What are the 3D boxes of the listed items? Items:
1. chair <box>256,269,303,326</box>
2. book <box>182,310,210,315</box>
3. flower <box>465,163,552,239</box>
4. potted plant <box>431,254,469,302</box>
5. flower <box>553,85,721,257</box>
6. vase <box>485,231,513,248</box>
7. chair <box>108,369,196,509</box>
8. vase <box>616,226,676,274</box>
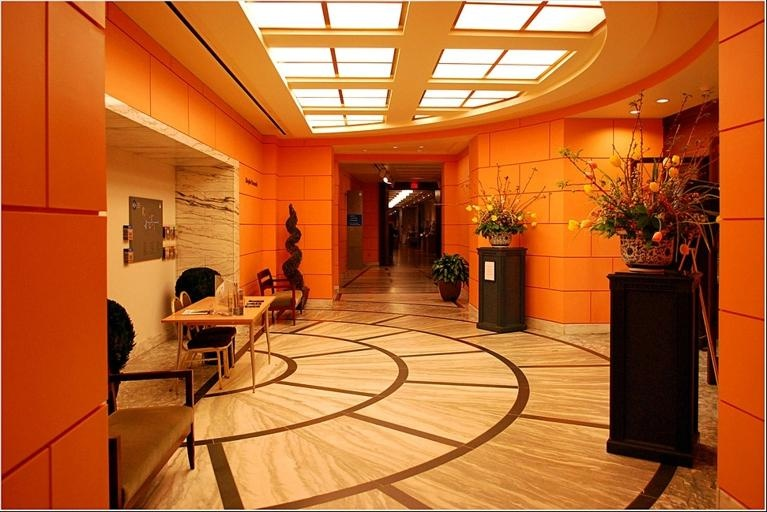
[{"bbox_3d":[-2.158,0.791,9.750,0.780,0.913,1.264,2,4,-3],"label":"chair"},{"bbox_3d":[-2.408,0.723,5.994,0.305,0.021,0.224,0,4,8],"label":"book"},{"bbox_3d":[2.143,-0.987,9.012,1.053,1.460,1.538,-5,9,-34],"label":"flower"},{"bbox_3d":[1.705,0.557,12.119,0.867,1.220,0.803,1,8,9],"label":"potted plant"},{"bbox_3d":[2.615,-0.525,4.543,1.261,1.206,1.016,0,3,5],"label":"flower"},{"bbox_3d":[2.126,-0.293,8.612,0.318,0.133,0.317,-3,-4,37],"label":"vase"},{"bbox_3d":[-1.863,1.505,3.809,0.684,0.867,1.286,-4,9,-27],"label":"chair"},{"bbox_3d":[2.533,-0.013,4.608,0.505,0.335,0.501,-1,-3,33],"label":"vase"}]
